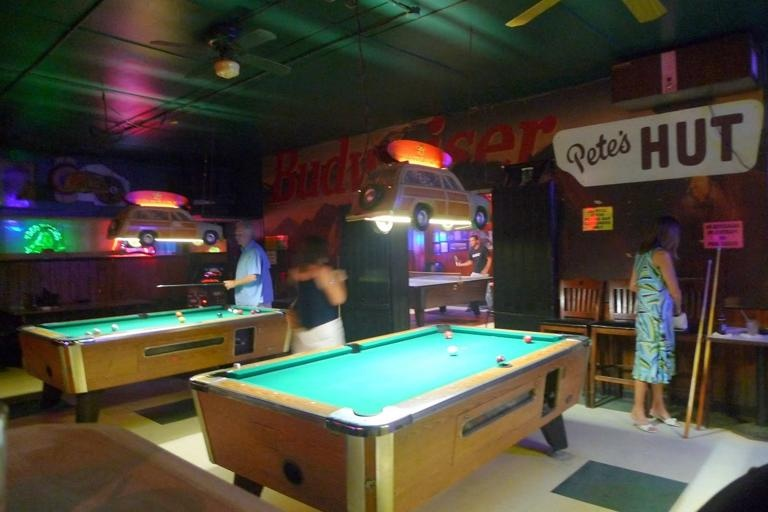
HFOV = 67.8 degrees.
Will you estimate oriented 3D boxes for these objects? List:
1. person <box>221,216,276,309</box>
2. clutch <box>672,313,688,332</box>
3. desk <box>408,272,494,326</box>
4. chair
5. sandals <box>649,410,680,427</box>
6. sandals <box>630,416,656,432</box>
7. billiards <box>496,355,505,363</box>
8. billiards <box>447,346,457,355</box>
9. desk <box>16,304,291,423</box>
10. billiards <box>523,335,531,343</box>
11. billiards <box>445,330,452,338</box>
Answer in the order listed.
[{"bbox_3d":[-1.938,0.458,8.196,0.669,1.820,0.833,1,14,-5],"label":"person"},{"bbox_3d":[3.313,0.739,6.403,0.126,0.162,0.208,-5,-19,18],"label":"clutch"},{"bbox_3d":[1.131,0.769,10.412,0.777,0.856,2.192,-1,0,36],"label":"desk"},{"bbox_3d":[2.881,0.881,7.155,0.842,2.352,0.978,0,1,33],"label":"chair"},{"bbox_3d":[3.143,1.819,6.414,0.116,0.069,0.282,-12,7,-40],"label":"sandals"},{"bbox_3d":[2.876,1.867,6.329,0.109,0.125,0.305,2,-8,-25],"label":"sandals"},{"bbox_3d":[1.012,0.902,4.996,0.057,0.039,0.073,-2,-3,-38],"label":"billiards"},{"bbox_3d":[0.644,0.891,5.376,0.081,0.050,0.076,-3,0,-1],"label":"billiards"},{"bbox_3d":[-2.603,1.161,6.964,1.338,0.753,2.784,1,5,42],"label":"desk"},{"bbox_3d":[1.424,0.830,5.694,0.062,0.037,0.055,-3,-1,2],"label":"billiards"},{"bbox_3d":[0.669,0.811,5.951,0.063,0.057,0.065,-3,2,-33],"label":"billiards"}]
